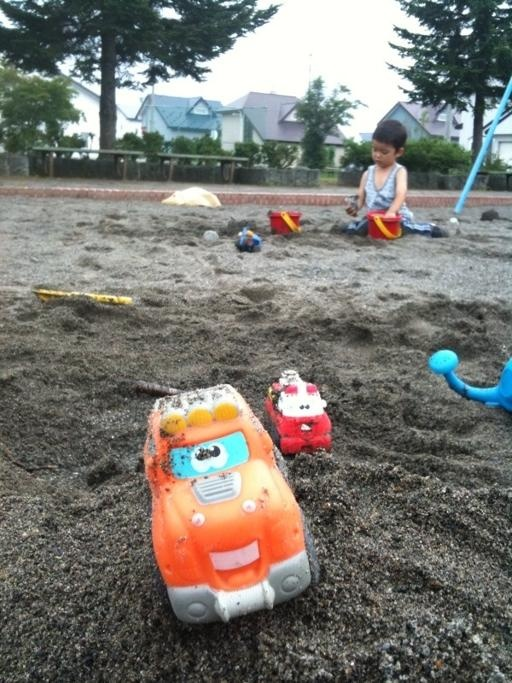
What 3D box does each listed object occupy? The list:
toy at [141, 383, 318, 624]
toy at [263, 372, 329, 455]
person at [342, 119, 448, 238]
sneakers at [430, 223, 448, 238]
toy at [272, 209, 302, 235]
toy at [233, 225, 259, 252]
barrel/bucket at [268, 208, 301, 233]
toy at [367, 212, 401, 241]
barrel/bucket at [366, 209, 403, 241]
[{"bbox_3d":[-0.073,0.357,1.623,0.323,0.409,0.661,-14,22,-5],"label":"toy"},{"bbox_3d":[0.157,0.253,2.339,0.220,0.195,0.412,-4,23,-9],"label":"toy"},{"bbox_3d":[1.375,-1.719,6.151,0.871,1.132,0.940,-9,21,-31],"label":"person"},{"bbox_3d":[1.917,-1.191,6.197,0.127,0.091,0.170,-2,27,-13],"label":"sneakers"},{"bbox_3d":[0.304,-1.249,6.095,0.280,0.201,0.265,2,25,12],"label":"toy"},{"bbox_3d":[-0.072,-0.951,5.328,0.218,0.185,0.337,0,29,-2],"label":"toy"},{"bbox_3d":[0.289,-1.239,6.101,0.280,0.199,0.263,-3,23,1],"label":"barrel/bucket"},{"bbox_3d":[1.247,-1.131,5.850,0.292,0.206,0.274,-8,25,-27],"label":"toy"},{"bbox_3d":[1.260,-1.180,5.815,0.298,0.218,0.285,2,22,-1],"label":"barrel/bucket"}]
